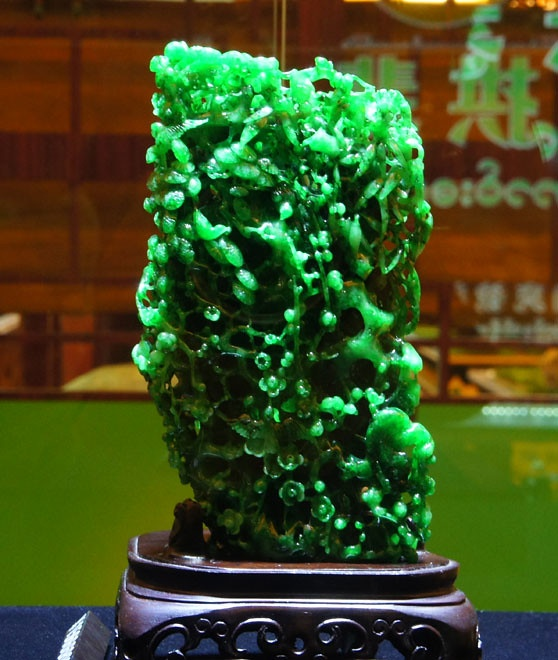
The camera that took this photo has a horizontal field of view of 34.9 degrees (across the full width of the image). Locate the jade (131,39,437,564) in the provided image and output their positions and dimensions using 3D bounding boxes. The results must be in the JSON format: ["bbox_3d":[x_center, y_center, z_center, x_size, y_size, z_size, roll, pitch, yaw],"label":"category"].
[{"bbox_3d":[0.003,-0.025,1.078,0.366,0.628,0.152,0,7,7],"label":"jade"}]
